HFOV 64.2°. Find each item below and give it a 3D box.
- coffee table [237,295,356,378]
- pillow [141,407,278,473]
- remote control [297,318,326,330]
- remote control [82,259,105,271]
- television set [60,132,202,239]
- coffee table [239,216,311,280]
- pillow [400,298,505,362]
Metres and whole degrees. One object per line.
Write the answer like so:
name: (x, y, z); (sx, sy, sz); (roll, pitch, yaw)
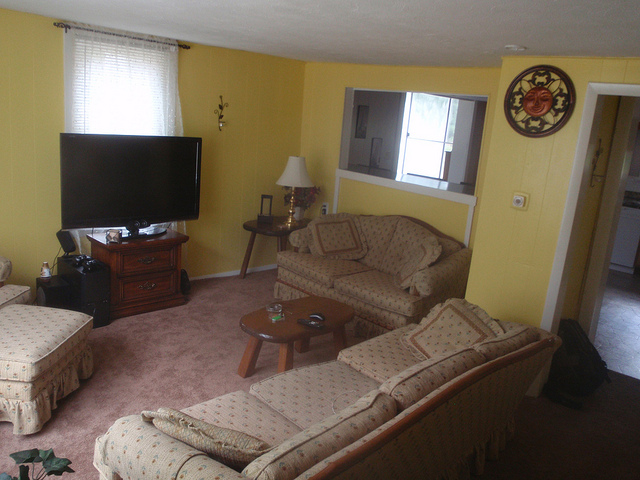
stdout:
coffee table: (-0.218, 0.885, 4.410); (0.660, 0.541, 0.994); (15, 19, 41)
pillow: (-0.609, 1.048, 2.643); (0.760, 0.213, 0.143); (8, 18, 20)
remote control: (-0.073, 0.678, 4.148); (0.170, 0.035, 0.091); (9, 13, 24)
remote control: (-2.165, 0.229, 4.834); (0.116, 0.039, 0.126); (22, 22, 34)
television set: (-1.896, -0.548, 5.208); (1.437, 1.040, 0.327); (-7, 19, -41)
coffee table: (-0.673, 0.055, 6.126); (0.571, 0.467, 0.549); (-7, 17, -30)
pillow: (0.934, 0.688, 3.816); (0.512, 0.141, 0.501); (-29, 39, -2)
